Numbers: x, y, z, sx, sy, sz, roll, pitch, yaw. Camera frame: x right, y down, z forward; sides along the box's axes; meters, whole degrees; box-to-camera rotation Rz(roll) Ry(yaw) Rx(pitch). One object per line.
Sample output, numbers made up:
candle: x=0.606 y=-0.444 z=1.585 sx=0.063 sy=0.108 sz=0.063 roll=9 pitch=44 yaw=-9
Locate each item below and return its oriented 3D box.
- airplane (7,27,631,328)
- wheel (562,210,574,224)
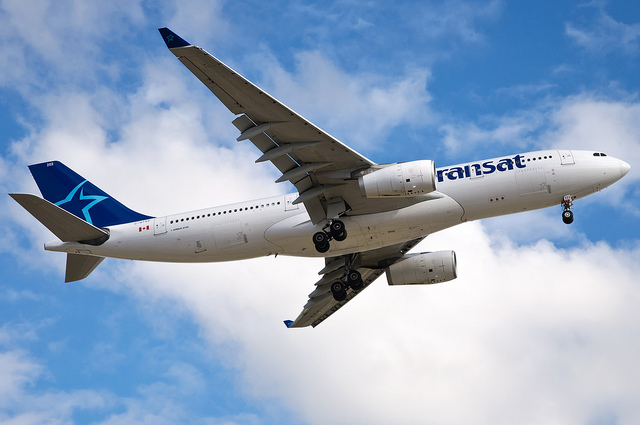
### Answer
airplane: x=-0.005 y=-0.078 z=35.155 sx=18.386 sy=5.255 sz=15.391 roll=-5 pitch=-45 yaw=2
wheel: x=8.998 y=0.177 z=29.907 sx=0.401 sy=0.365 sz=0.375 roll=27 pitch=-10 yaw=5
